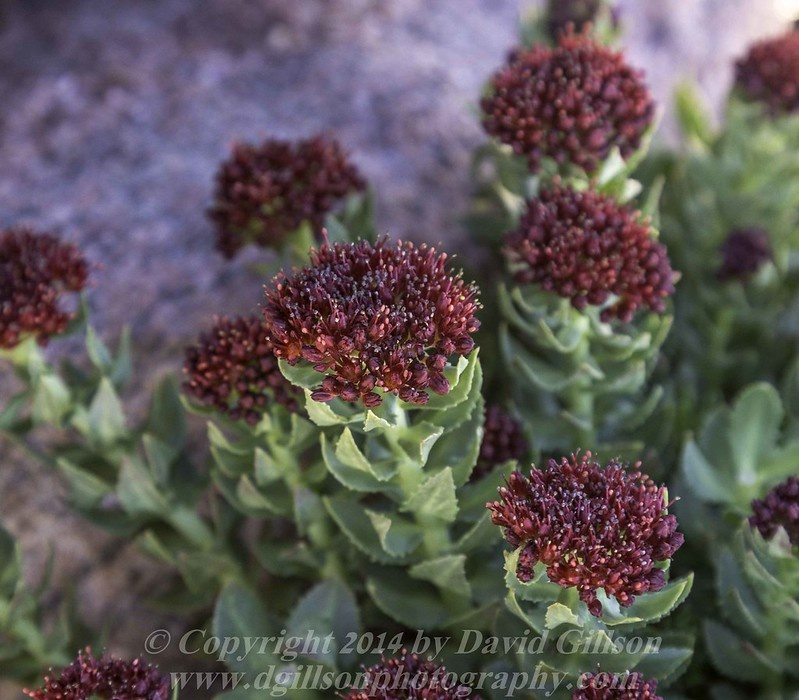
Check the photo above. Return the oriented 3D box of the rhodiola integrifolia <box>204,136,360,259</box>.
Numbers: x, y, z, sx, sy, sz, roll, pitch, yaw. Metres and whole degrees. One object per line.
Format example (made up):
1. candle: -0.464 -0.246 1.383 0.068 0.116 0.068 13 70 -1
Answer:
1. rhodiola integrifolia: -0.276 -0.400 2.585 0.304 0.266 0.264 -15 93 -46

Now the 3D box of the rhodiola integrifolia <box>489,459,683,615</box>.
1. rhodiola integrifolia: 0.338 0.391 2.081 0.333 0.238 0.316 10 50 -18
